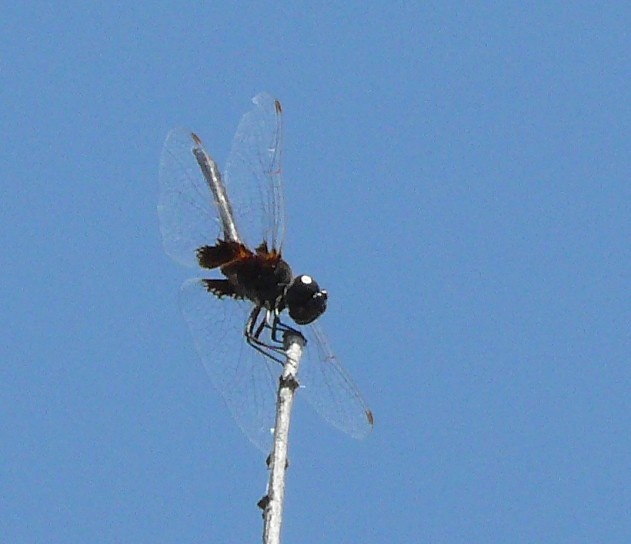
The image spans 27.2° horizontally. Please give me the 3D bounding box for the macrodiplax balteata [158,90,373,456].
[{"bbox_3d":[-0.454,0.037,8.541,0.960,0.272,2.229,-19,85,-3],"label":"macrodiplax balteata"}]
